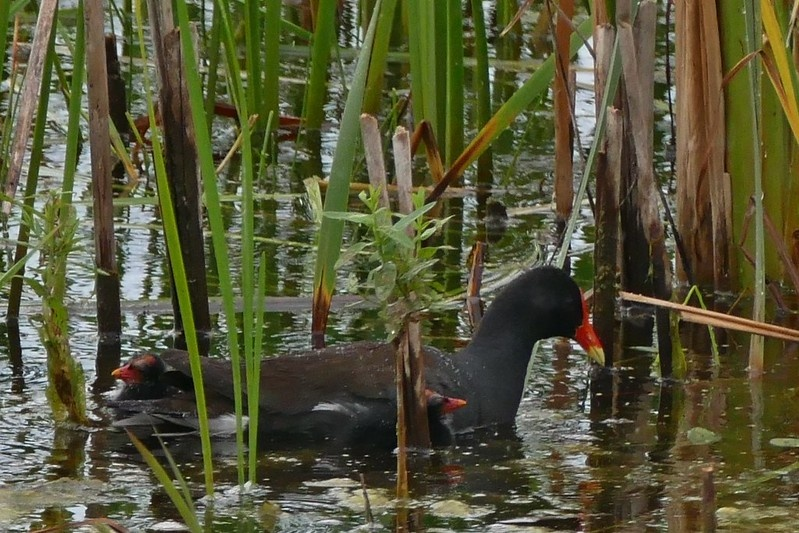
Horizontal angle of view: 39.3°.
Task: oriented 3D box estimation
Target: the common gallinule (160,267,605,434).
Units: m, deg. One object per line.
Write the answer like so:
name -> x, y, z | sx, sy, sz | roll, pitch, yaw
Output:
common gallinule -> -0.104, 0.385, 5.720 | 2.385, 1.273, 0.774 | 1, 13, -8

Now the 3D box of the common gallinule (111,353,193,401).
common gallinule -> -1.151, 0.520, 5.230 | 0.315, 0.132, 0.245 | -11, -1, 20
